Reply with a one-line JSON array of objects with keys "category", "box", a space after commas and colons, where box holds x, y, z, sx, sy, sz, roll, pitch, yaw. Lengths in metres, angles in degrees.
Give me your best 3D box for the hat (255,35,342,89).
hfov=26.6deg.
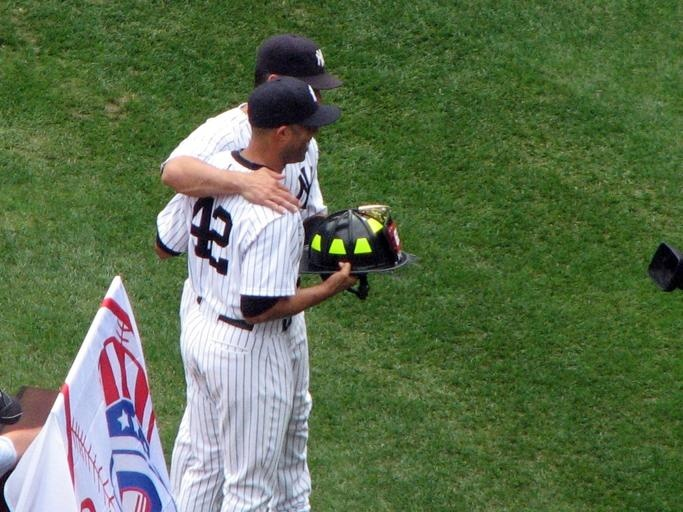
[{"category": "hat", "box": [-0.388, -1.716, 12.528, 0.648, 0.341, 0.461, 7, 21, 12]}]
